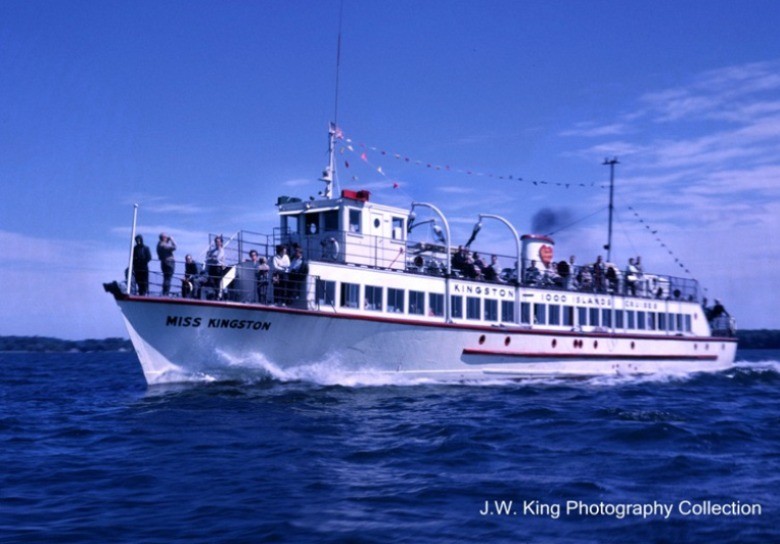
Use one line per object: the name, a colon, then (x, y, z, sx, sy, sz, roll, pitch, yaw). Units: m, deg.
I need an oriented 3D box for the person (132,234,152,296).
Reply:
person: (-8.759, -0.337, 43.349, 0.607, 2.107, 0.929, -2, 15, -12)

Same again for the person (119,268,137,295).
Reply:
person: (-9.109, 0.234, 43.131, 0.389, 0.956, 0.889, -2, 14, -10)
